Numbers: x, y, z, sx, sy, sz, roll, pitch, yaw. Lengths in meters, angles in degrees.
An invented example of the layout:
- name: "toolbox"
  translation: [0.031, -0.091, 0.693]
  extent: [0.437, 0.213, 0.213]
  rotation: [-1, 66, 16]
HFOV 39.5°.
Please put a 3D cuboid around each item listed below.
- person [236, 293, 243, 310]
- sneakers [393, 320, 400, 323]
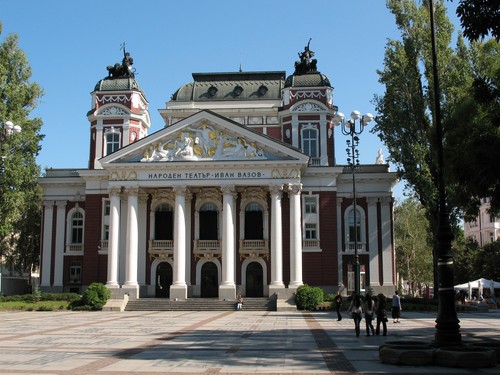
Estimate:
- name: "person"
  translation: [-0.784, 9.242, 56.040]
  extent: [0.641, 1.280, 1.846]
  rotation: [-2, -12, -1]
- name: "sneakers"
  translation: [9.475, 8.599, 44.730]
  extent: [0.153, 0.220, 0.505]
  rotation: [-2, -2, 42]
